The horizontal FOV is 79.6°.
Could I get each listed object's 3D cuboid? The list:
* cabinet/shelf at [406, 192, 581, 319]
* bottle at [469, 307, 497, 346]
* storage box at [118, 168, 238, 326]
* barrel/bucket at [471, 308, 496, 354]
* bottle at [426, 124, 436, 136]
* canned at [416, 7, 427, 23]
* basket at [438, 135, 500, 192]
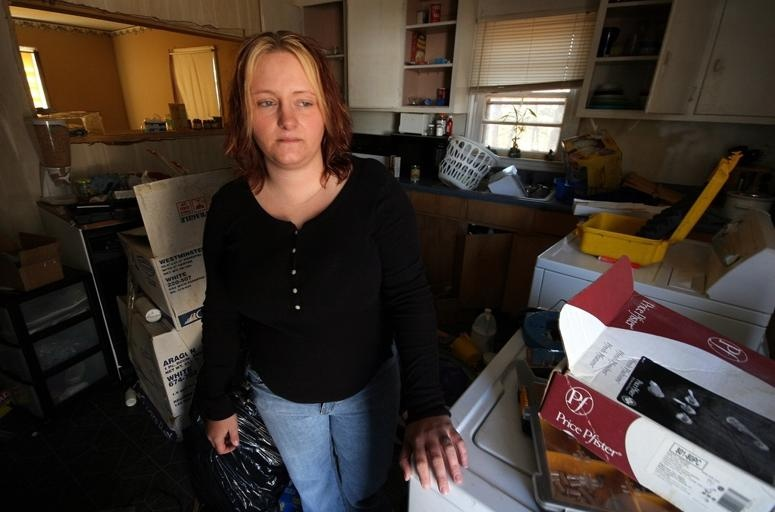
[{"bbox_3d":[0.667,-0.138,3.841,0.910,0.820,0.599,10,28,14],"label":"cabinet/shelf"},{"bbox_3d":[0.690,0.521,3.347,0.180,0.306,0.200,0,21,-3],"label":"bottle"},{"bbox_3d":[-1.172,-0.083,2.774,0.678,0.874,0.524,-20,31,-28],"label":"storage box"},{"bbox_3d":[0.688,0.546,3.302,0.178,0.322,0.161,-12,23,-35],"label":"barrel/bucket"},{"bbox_3d":[0.388,-1.116,4.125,0.087,0.137,0.080,0,24,0],"label":"bottle"},{"bbox_3d":[0.297,-2.040,3.958,0.097,0.131,0.221,1,21,2],"label":"canned"},{"bbox_3d":[0.591,-0.750,3.823,0.466,0.340,0.449,29,8,17],"label":"basket"}]
